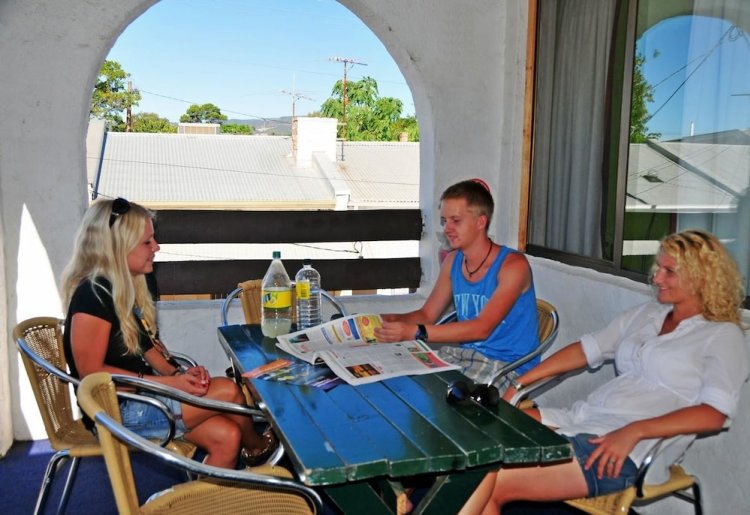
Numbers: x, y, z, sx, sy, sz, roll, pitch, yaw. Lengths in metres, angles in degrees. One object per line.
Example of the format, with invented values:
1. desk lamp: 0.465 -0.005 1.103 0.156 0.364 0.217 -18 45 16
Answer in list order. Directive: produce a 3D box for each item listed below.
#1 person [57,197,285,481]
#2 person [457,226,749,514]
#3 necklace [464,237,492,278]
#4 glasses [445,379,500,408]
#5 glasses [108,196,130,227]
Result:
1. person: -1.038 0.494 3.595 1.066 1.603 0.595 -4 5 -17
2. person: 1.153 0.471 3.188 1.076 1.167 0.535 -2 7 4
3. necklace: 0.541 0.005 3.651 0.043 0.203 0.150 15 19 -30
4. glasses: 0.407 0.565 2.865 0.212 0.092 0.082 -1 7 7
5. glasses: -1.249 -0.234 3.394 0.092 0.131 0.096 26 7 -14
